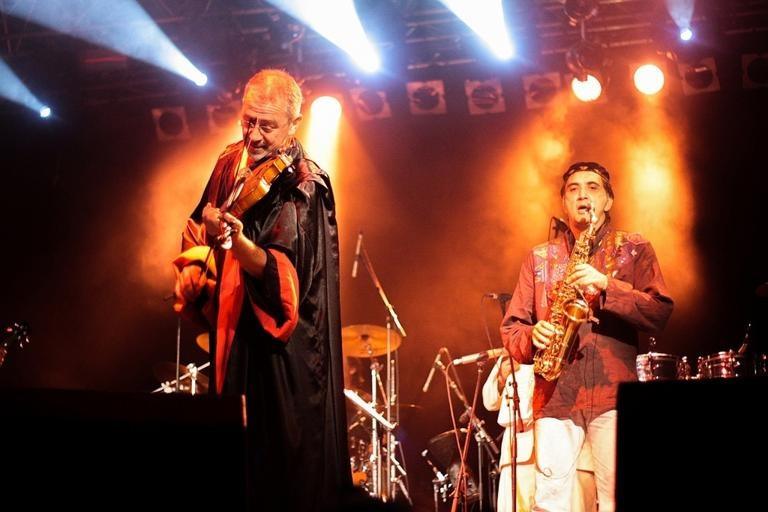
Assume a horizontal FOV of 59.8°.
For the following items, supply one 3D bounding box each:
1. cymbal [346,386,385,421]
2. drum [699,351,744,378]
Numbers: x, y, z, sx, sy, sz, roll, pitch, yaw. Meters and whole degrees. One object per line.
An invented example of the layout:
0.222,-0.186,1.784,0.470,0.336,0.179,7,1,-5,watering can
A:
-0.259,1.846,8.297,0.450,0.345,0.443,3,-17,-5,cymbal
3.824,1.243,7.689,0.348,0.321,0.573,1,-17,1,drum
